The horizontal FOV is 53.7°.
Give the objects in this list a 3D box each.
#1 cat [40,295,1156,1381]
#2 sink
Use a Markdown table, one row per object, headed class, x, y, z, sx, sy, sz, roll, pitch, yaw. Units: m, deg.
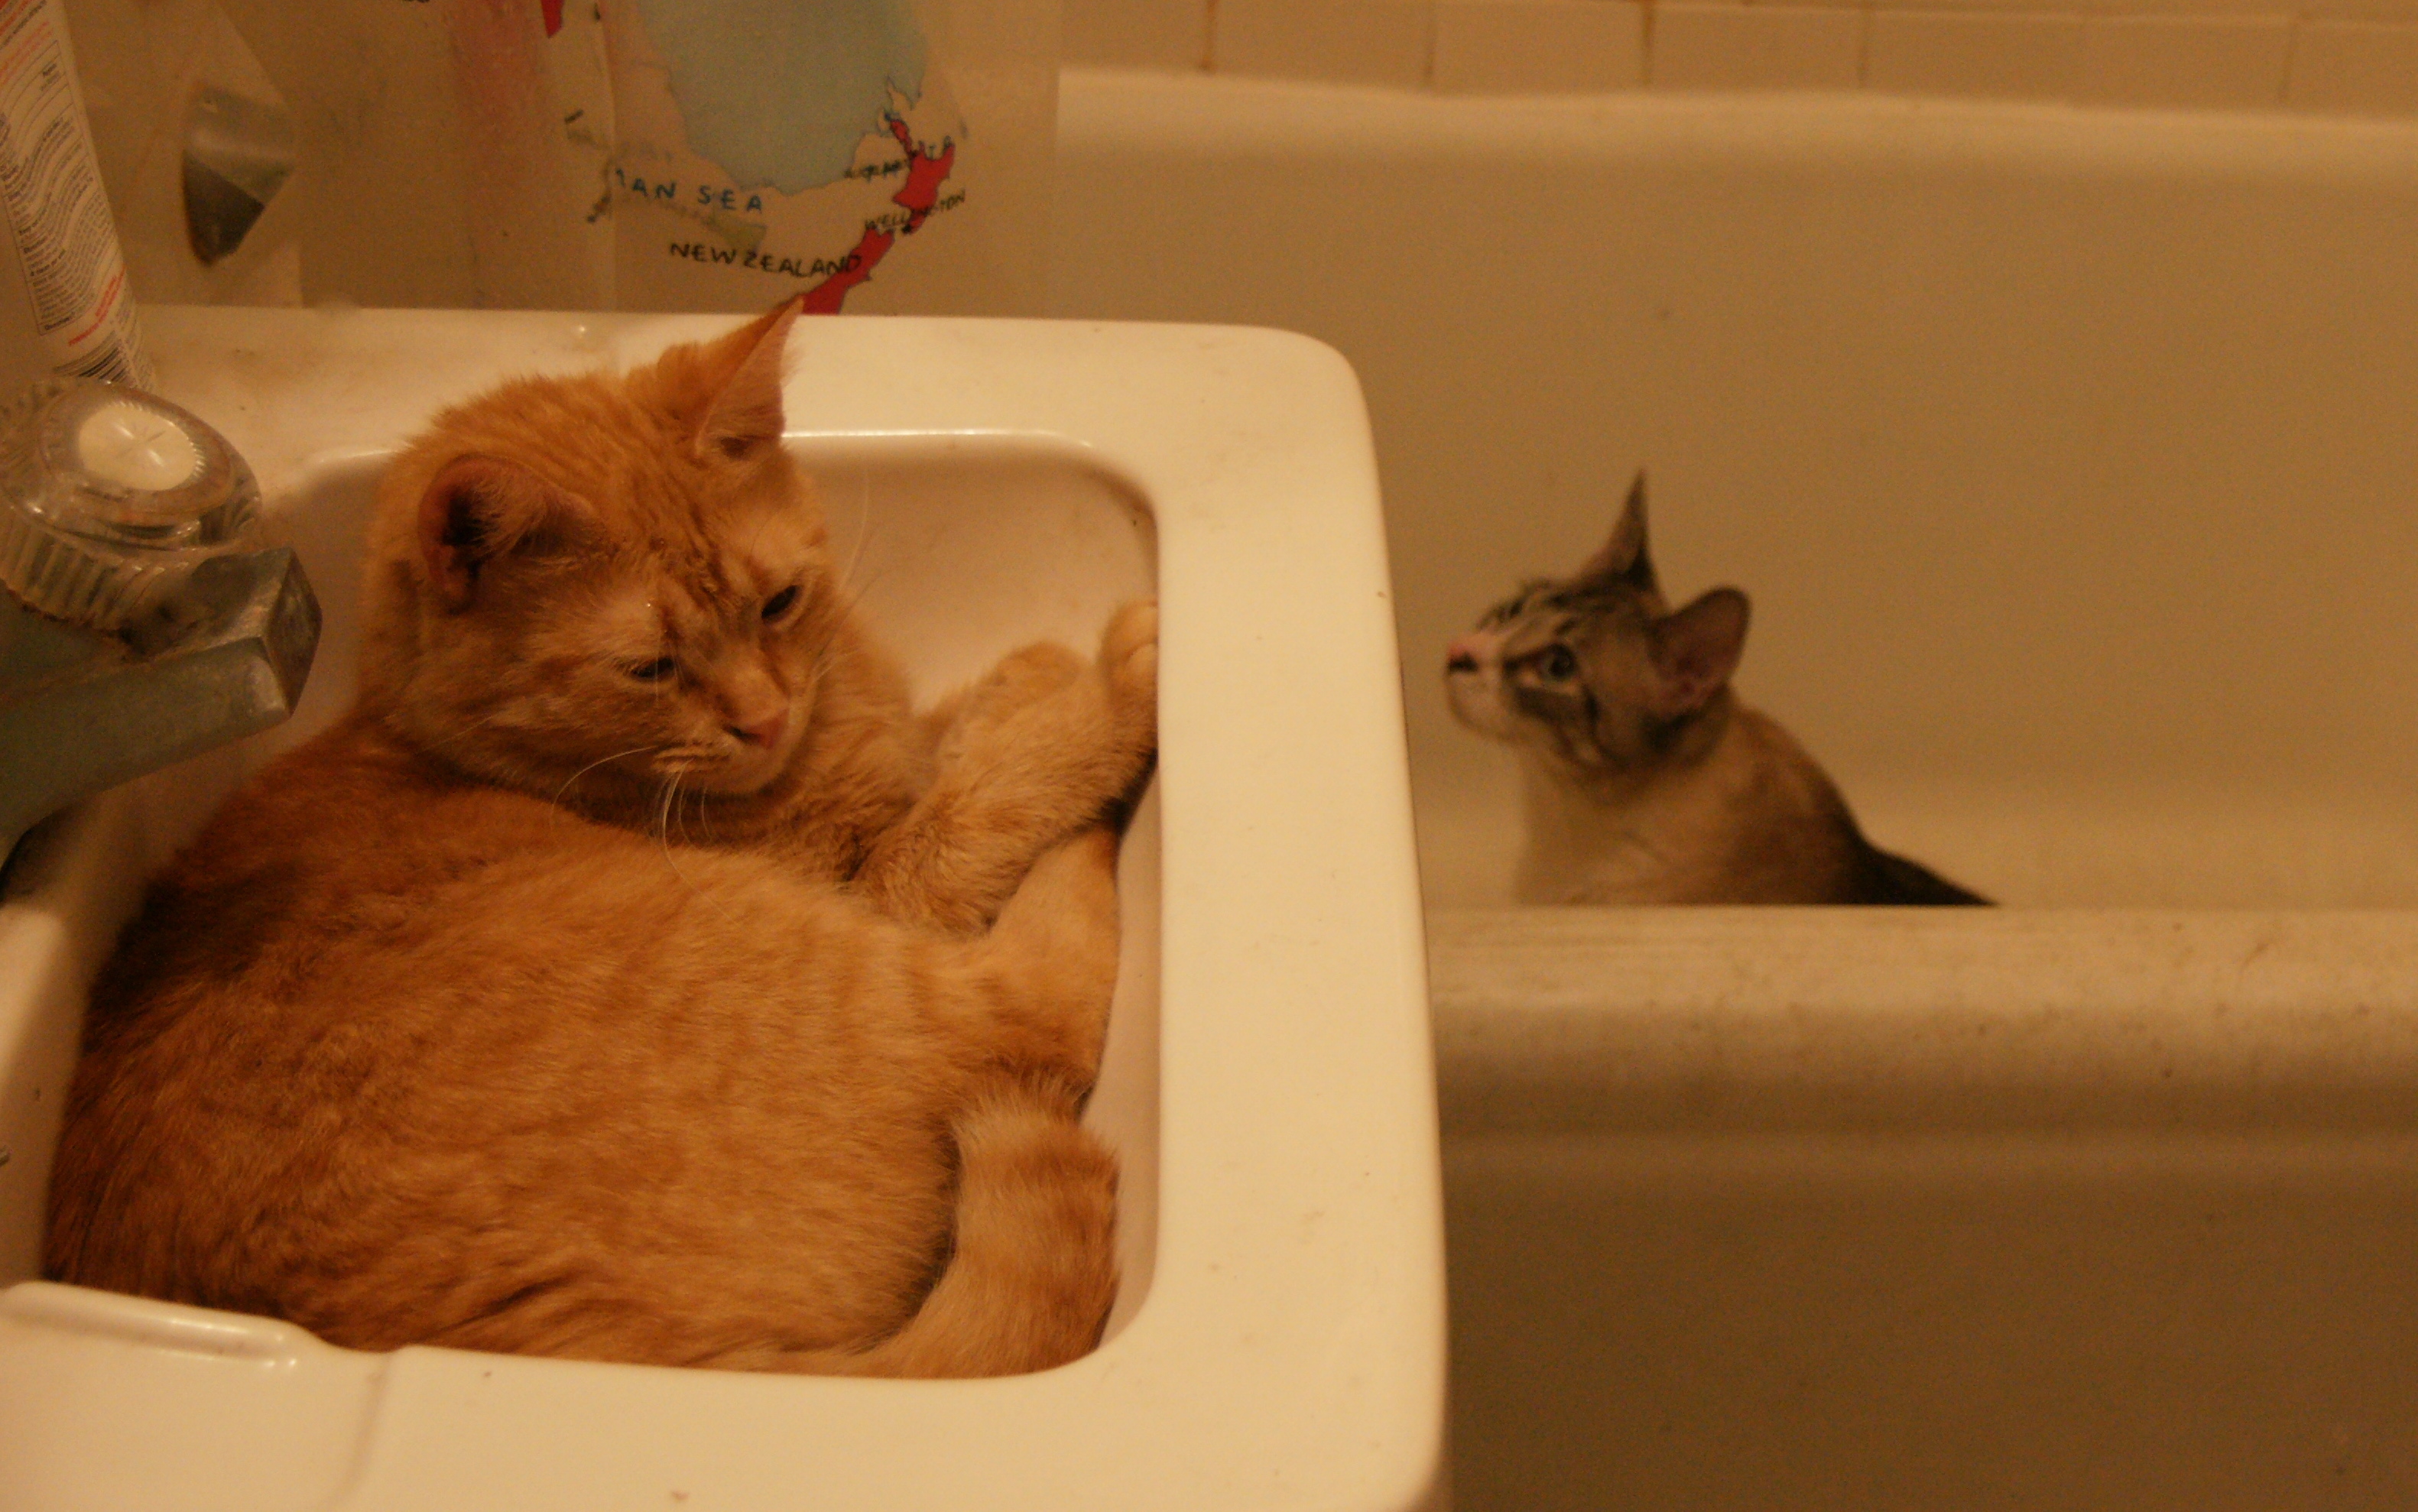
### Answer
| class | x | y | z | sx | sy | sz | roll | pitch | yaw |
| --- | --- | --- | --- | --- | --- | --- | --- | --- | --- |
| cat | -0.424 | 0.158 | 1.598 | 0.710 | 0.618 | 0.335 | 9 | 29 | 11 |
| sink | -0.354 | 0.066 | 1.451 | 0.624 | 0.269 | 0.529 | 4 | 53 | 0 |
